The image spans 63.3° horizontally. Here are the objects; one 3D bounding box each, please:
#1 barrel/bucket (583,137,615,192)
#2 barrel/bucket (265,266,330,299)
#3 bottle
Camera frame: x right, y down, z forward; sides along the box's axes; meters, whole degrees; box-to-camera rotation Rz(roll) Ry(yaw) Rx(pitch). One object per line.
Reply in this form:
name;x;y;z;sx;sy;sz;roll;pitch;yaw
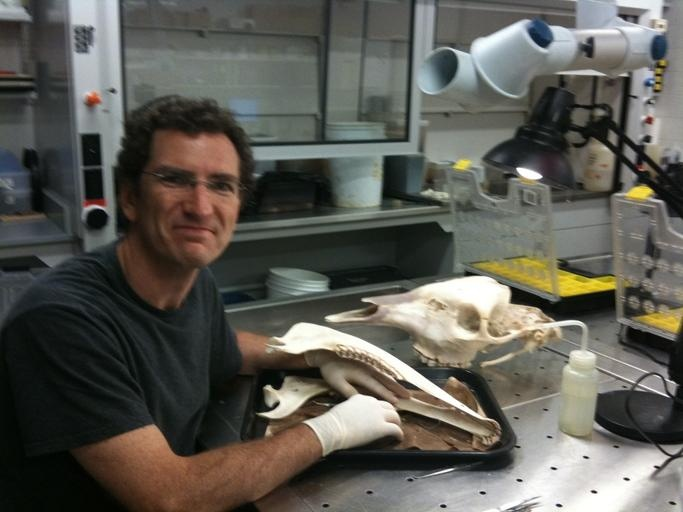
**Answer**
barrel/bucket;1.664;-0.584;3.573;0.188;0.334;0.193;-1;11;0
barrel/bucket;-0.222;0.128;2.699;0.230;0.085;0.181;2;7;7
bottle;0.580;0.311;1.300;0.152;0.198;0.074;-9;14;-35
